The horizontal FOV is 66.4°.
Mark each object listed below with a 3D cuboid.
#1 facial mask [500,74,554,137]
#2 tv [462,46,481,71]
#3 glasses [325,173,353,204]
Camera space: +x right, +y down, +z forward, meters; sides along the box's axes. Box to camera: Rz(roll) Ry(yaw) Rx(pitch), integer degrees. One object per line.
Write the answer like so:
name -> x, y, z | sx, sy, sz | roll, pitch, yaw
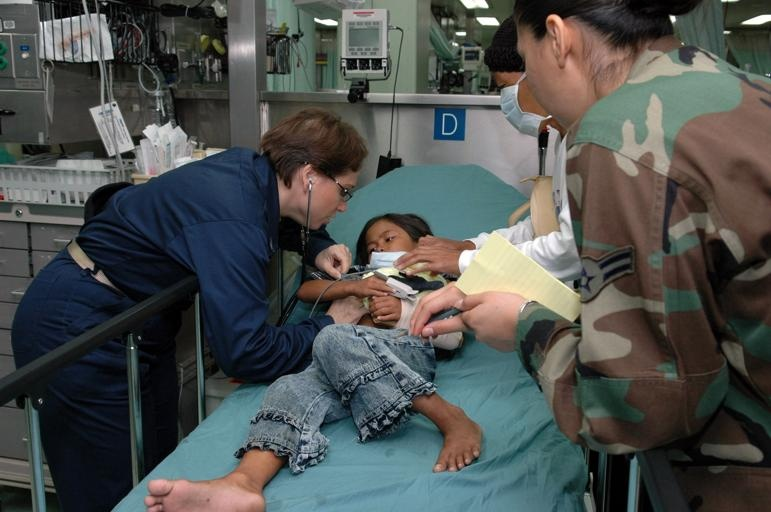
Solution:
facial mask -> 0.631, -0.672, 2.677 | 0.201, 0.213, 0.236 | 3, 23, 10
tv -> 0.585, -1.373, 4.117 | 0.148, 0.161, 0.157 | 0, 10, 4
glasses -> -0.190, -0.263, 2.278 | 0.089, 0.027, 0.088 | 43, 13, 17
